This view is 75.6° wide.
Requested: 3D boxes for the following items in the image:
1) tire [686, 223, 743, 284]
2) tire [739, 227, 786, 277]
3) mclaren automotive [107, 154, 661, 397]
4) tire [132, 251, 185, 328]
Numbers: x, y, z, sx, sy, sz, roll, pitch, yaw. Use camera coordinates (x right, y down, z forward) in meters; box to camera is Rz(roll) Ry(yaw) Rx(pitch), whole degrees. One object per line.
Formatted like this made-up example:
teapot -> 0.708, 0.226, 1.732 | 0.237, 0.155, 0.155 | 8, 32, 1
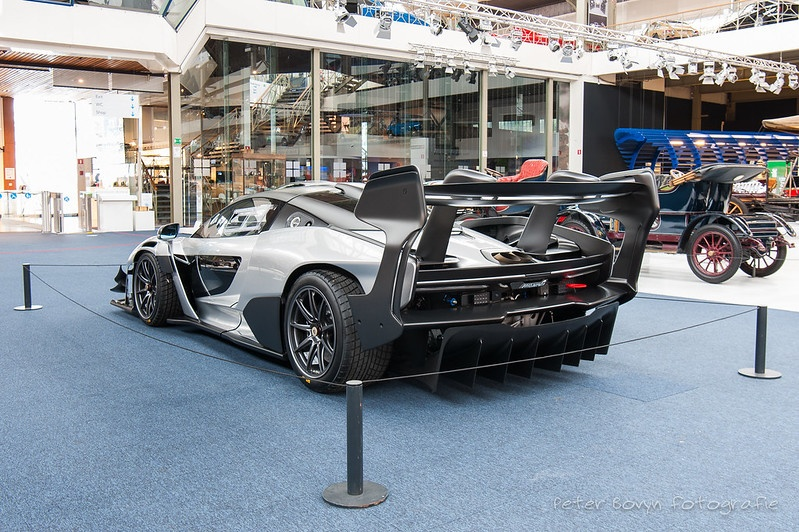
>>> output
tire -> 5.249, -0.234, 8.616 | 0.240, 1.000, 0.916 | -6, 11, -36
tire -> 6.143, -0.251, 8.771 | 0.384, 0.856, 0.841 | 2, 0, -33
mclaren automotive -> -0.654, 0.018, 4.673 | 2.045, 1.074, 3.703 | -3, 9, -42
tire -> -2.589, 0.248, 5.607 | 0.275, 0.643, 0.648 | 2, -30, -39
